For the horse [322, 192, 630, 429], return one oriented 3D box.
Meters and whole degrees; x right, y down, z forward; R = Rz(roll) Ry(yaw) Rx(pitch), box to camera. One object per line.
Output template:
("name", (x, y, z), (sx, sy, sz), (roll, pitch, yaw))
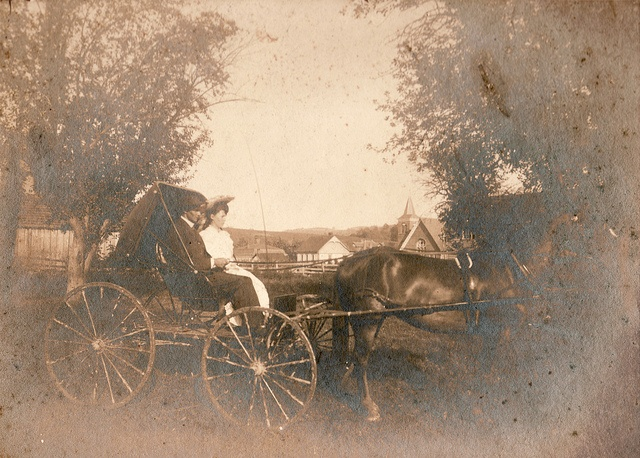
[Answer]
("horse", (1.490, 0.948, 10.336), (2.941, 2.052, 0.689), (-5, -14, 22))
